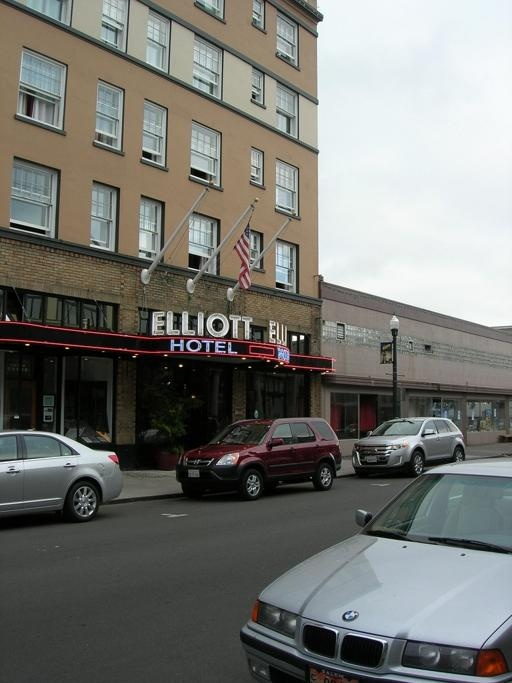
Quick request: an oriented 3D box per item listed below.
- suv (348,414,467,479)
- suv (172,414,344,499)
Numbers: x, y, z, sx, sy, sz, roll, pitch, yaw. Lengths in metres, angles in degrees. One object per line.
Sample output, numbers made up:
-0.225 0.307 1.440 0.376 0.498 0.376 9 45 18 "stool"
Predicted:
4.761 3.244 19.226 1.773 1.633 3.568 -10 -15 38 "suv"
-0.012 2.693 13.999 1.720 1.506 3.180 -13 -17 38 "suv"
